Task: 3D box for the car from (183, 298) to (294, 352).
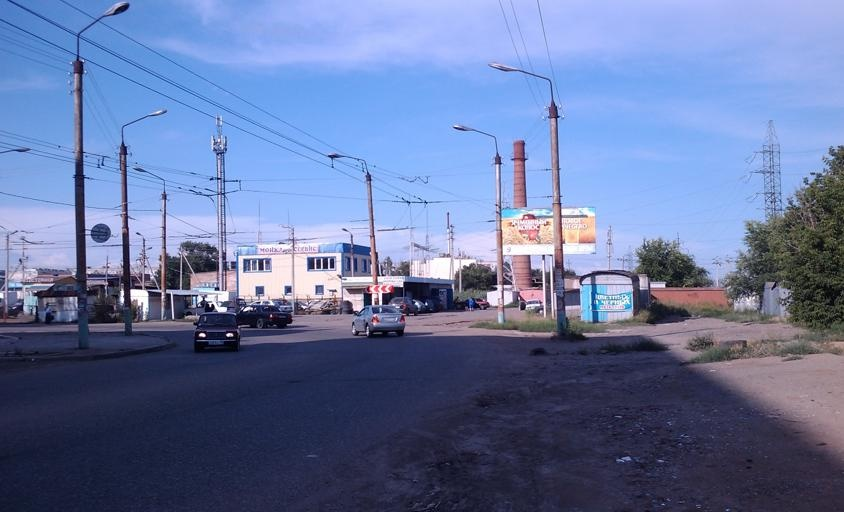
[{"bbox_3d":[-8.761,3.414,41.905,2.695,1.413,4.812,0,0,5],"label":"car"}]
